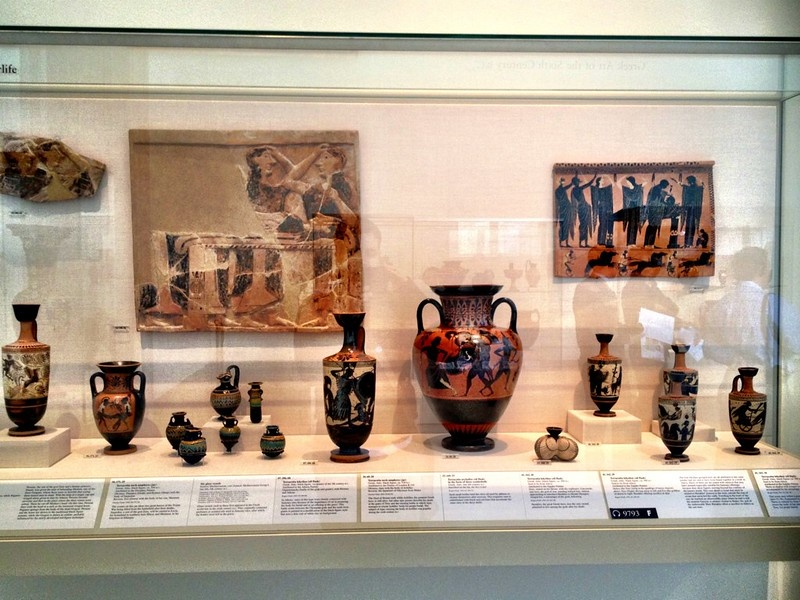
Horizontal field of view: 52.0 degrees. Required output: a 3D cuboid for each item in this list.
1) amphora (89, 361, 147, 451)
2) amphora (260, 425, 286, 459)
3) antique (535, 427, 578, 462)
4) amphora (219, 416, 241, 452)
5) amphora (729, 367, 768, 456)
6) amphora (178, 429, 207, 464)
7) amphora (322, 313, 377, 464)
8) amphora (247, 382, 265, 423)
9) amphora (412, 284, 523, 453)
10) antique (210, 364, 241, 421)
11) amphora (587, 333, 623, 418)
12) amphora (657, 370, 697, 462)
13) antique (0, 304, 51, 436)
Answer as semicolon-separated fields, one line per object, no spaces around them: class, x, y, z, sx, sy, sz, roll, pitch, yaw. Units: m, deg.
amphora;-1.479;0.570;4.346;0.282;0.460;0.186;-4;7;-14
amphora;-0.647;0.748;4.313;0.153;0.170;0.147;0;1;-4
antique;0.822;0.739;4.268;0.227;0.159;0.213;-1;7;12
amphora;-0.887;0.714;4.316;0.109;0.181;0.052;-3;7;-6
amphora;1.834;0.585;4.309;0.186;0.434;0.169;0;7;16
amphora;-1.060;0.755;4.222;0.139;0.162;0.134;-4;7;-14
amphora;-0.237;0.447;4.257;0.305;0.738;0.275;-4;7;-19
amphora;-0.761;0.550;4.379;0.077;0.212;0.054;-4;7;-12
amphora;0.384;0.372;4.530;0.636;0.834;0.572;0;-3;-18
antique;-0.930;0.491;4.413;0.179;0.272;0.153;-2;1;-28
amphora;1.113;0.404;4.420;0.184;0.435;0.096;-1;7;9
amphora;1.450;0.603;4.279;0.180;0.419;0.251;0;7;17
antique;-1.938;0.360;4.277;0.237;0.661;0.141;-4;7;-18
